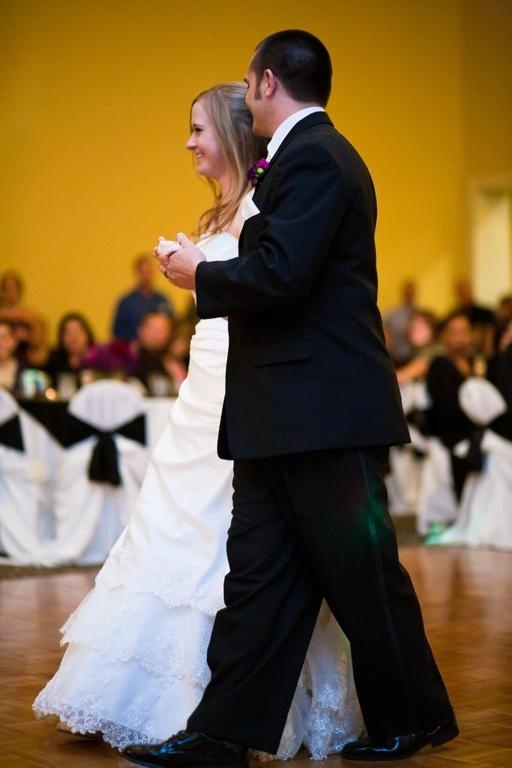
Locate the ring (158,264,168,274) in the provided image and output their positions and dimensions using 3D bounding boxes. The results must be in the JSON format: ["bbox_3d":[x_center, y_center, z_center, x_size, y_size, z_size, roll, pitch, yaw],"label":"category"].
[{"bbox_3d":[-0.186,-0.225,1.618,0.008,0.021,0.017,8,-4,-35],"label":"ring"}]
